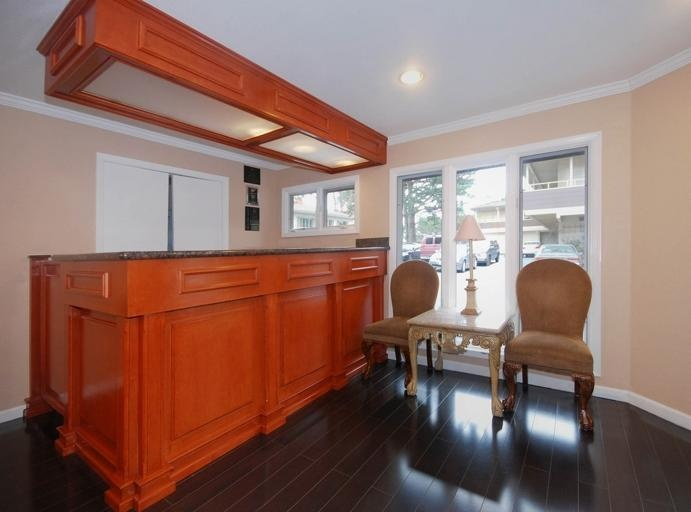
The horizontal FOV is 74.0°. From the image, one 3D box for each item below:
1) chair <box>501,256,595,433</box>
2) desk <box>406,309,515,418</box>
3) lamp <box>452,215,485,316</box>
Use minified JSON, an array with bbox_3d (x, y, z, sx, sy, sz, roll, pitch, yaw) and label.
[{"bbox_3d":[1.835,0.734,4.174,0.703,1.396,0.770,0,2,27],"label":"chair"},{"bbox_3d":[1.072,0.963,4.350,0.910,0.839,0.688,0,2,25],"label":"desk"},{"bbox_3d":[1.245,0.056,4.631,0.255,1.005,0.713,0,2,16],"label":"lamp"}]
